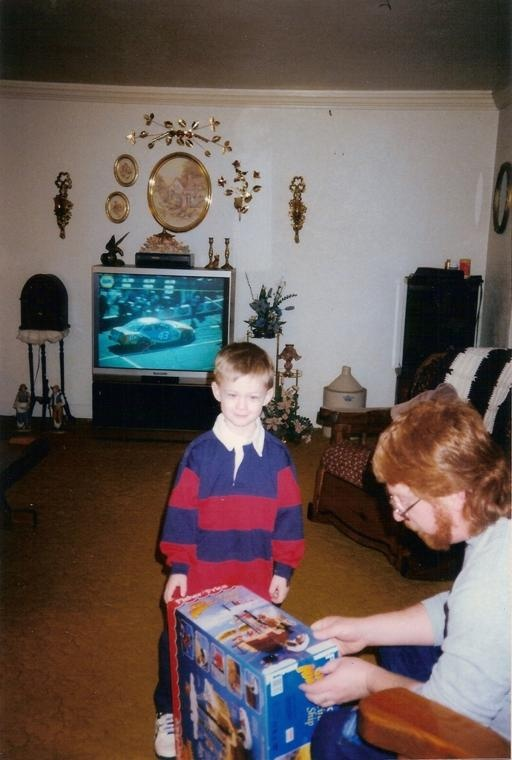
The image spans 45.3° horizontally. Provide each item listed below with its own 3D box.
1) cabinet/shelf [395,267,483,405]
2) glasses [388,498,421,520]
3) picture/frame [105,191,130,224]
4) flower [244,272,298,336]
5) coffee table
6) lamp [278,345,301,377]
[{"bbox_3d":[1.443,-0.181,4.747,0.575,1.250,0.443,5,-5,31],"label":"cabinet/shelf"},{"bbox_3d":[0.288,0.252,1.170,0.042,0.028,0.055,0,-15,4],"label":"glasses"},{"bbox_3d":[-1.105,-1.372,4.902,0.206,0.215,0.044,2,4,8],"label":"picture/frame"},{"bbox_3d":[0.110,-0.559,4.838,0.410,0.490,0.444,2,10,3],"label":"flower"},{"bbox_3d":[-1.703,-0.022,4.969,0.398,0.775,0.565,-2,10,-20],"label":"coffee table"},{"bbox_3d":[0.275,-0.152,4.882,0.243,0.306,0.111,1,3,1],"label":"lamp"}]
